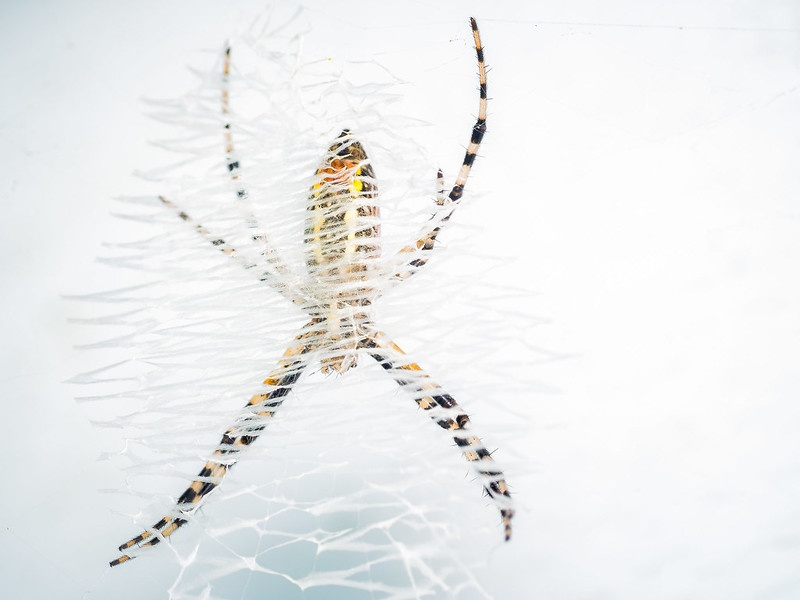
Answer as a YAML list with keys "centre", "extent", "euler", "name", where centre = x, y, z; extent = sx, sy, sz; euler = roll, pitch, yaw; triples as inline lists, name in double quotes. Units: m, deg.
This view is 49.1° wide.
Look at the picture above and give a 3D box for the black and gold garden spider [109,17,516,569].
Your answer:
- centre: [-0.159, 0.011, 2.170]
  extent: [0.932, 0.393, 1.233]
  euler: [4, -87, -1]
  name: "black and gold garden spider"
